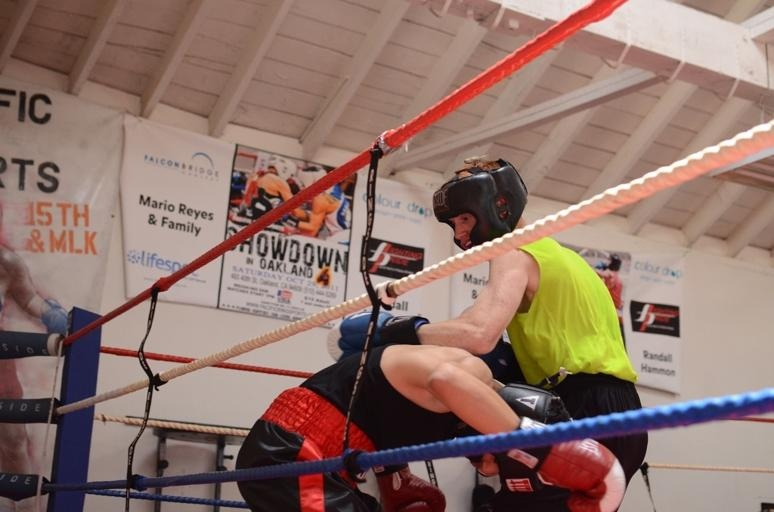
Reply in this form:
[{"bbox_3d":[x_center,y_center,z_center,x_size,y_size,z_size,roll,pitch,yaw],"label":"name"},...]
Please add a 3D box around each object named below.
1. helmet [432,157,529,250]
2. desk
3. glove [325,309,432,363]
[{"bbox_3d":[0.363,-0.240,3.406,0.459,0.407,0.365,1,-33,-1],"label":"helmet"},{"bbox_3d":[-1.241,1.333,4.640,0.623,0.545,2.118,8,-18,-10],"label":"desk"},{"bbox_3d":[-0.053,0.334,3.019,0.316,0.130,0.234,-7,-7,21],"label":"glove"}]
